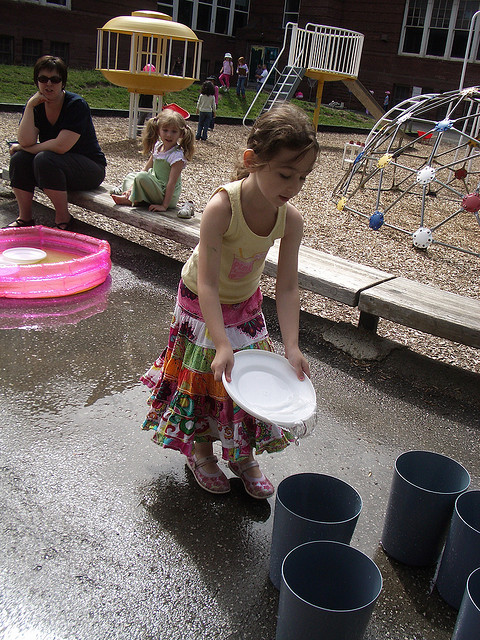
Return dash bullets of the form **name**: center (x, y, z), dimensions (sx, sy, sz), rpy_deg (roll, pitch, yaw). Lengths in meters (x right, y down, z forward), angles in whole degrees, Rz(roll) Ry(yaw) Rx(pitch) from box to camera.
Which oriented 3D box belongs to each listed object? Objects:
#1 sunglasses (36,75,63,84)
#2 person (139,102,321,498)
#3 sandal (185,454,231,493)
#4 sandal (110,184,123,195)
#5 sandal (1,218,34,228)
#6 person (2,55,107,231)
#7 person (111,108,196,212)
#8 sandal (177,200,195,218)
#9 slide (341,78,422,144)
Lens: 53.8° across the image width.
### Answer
- **sunglasses**: center (-1.585, -1.997, 3.923), dimensions (0.190, 0.069, 0.088), rpy_deg (-1, 20, -22)
- **person**: center (-0.031, -0.027, 1.642), dimensions (0.619, 1.259, 0.545), rpy_deg (8, 5, 24)
- **sandal**: center (-0.124, 0.561, 1.784), dimensions (0.083, 0.070, 0.179), rpy_deg (-5, 32, -46)
- **sandal**: center (-1.201, -1.232, 4.458), dimensions (0.209, 0.087, 0.077), rpy_deg (11, 11, 25)
- **sandal**: center (-2.002, -0.888, 4.283), dimensions (0.279, 0.071, 0.102), rpy_deg (-19, 22, -36)
- **person**: center (-1.666, -1.537, 4.239), dimensions (0.887, 1.486, 0.638), rpy_deg (-3, 22, -27)
- **person**: center (-0.776, -1.423, 4.196), dimensions (0.736, 0.835, 0.529), rpy_deg (5, 28, -15)
- **sandal**: center (-0.458, -0.945, 4.017), dimensions (0.085, 0.093, 0.229), rpy_deg (3, 21, 8)
- **slide**: center (4.173, -6.769, 14.816), dimensions (1.537, 1.241, 2.454), rpy_deg (17, 21, 27)
